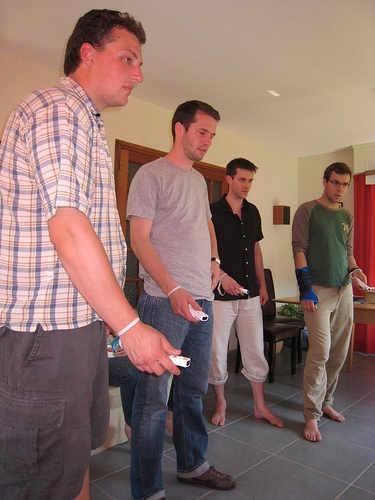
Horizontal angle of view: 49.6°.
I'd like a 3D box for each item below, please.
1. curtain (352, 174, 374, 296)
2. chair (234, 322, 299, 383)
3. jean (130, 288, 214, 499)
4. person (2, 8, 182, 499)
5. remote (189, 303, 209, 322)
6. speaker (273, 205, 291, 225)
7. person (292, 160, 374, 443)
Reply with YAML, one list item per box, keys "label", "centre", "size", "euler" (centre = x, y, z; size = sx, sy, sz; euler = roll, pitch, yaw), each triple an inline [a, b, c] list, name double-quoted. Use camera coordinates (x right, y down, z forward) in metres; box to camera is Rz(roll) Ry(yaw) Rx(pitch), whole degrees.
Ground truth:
- label: "curtain"
  centre: [2.400, -0.282, 5.466]
  size: [0.129, 1.513, 0.347]
  euler: [3, -3, -30]
- label: "chair"
  centre: [0.797, 0.952, 4.154]
  size: [0.566, 0.859, 0.515]
  euler: [1, -2, -29]
- label: "jean"
  centre: [-0.062, 0.605, 1.720]
  size: [0.261, 0.888, 0.502]
  euler: [1, -3, 19]
- label: "person"
  centre: [-0.222, -0.030, 0.905]
  size: [0.368, 1.119, 0.270]
  euler: [3, -3, -28]
- label: "remote"
  centre: [0.046, 0.218, 1.409]
  size: [0.039, 0.015, 0.058]
  euler: [29, -2, -32]
- label: "speaker"
  centre: [1.397, -0.518, 5.926]
  size: [0.190, 0.296, 0.319]
  euler: [0, -3, 37]
- label: "person"
  centre: [0.926, 0.280, 2.717]
  size: [0.665, 1.771, 0.320]
  euler: [4, -4, -44]
